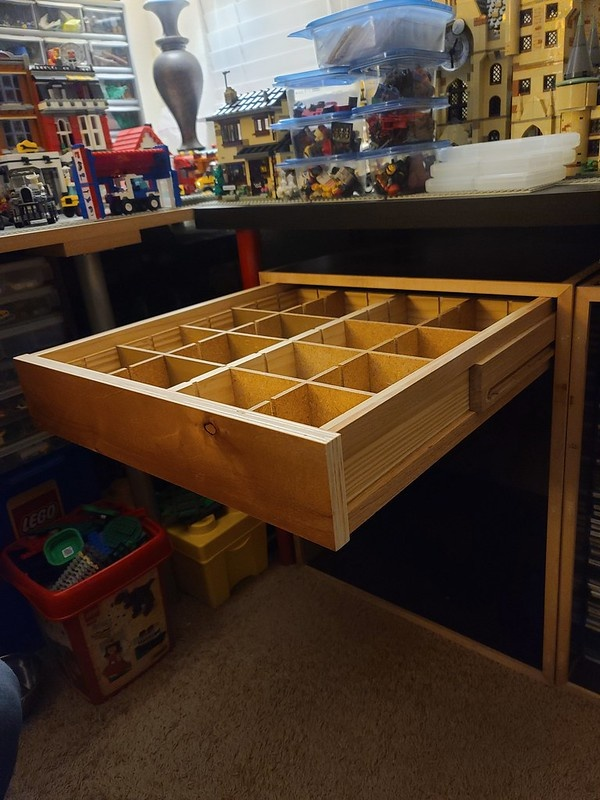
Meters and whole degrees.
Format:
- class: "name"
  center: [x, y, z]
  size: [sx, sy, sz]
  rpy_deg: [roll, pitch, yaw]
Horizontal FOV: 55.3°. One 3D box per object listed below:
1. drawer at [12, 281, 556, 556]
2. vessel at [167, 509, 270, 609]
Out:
- class: "drawer"
  center: [-0.011, -0.089, 0.963]
  size: [0.693, 0.187, 0.749]
  rpy_deg: [13, 32, 37]
- class: "vessel"
  center: [-0.223, 0.430, 1.673]
  size: [0.148, 0.243, 0.261]
  rpy_deg: [10, 25, 36]
